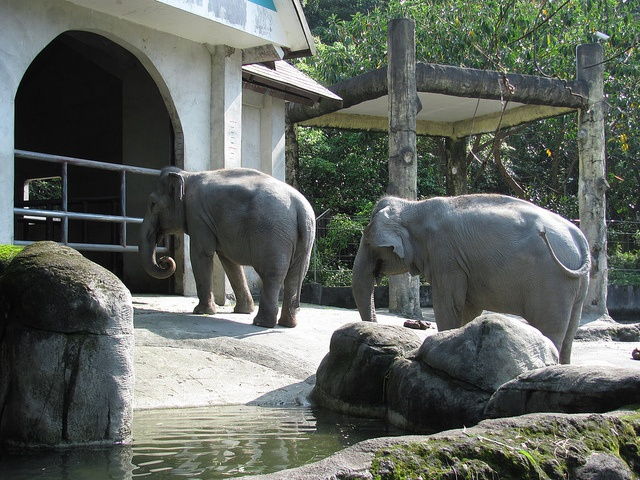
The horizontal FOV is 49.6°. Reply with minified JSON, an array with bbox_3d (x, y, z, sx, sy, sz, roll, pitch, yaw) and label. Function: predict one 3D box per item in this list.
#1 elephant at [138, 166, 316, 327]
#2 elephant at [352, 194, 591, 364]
[{"bbox_3d":[-1.252,0.027,8.659,2.116,2.017,0.875,4,6,14],"label":"elephant"},{"bbox_3d":[1.572,0.226,7.118,2.144,1.828,1.305,6,2,30],"label":"elephant"}]
